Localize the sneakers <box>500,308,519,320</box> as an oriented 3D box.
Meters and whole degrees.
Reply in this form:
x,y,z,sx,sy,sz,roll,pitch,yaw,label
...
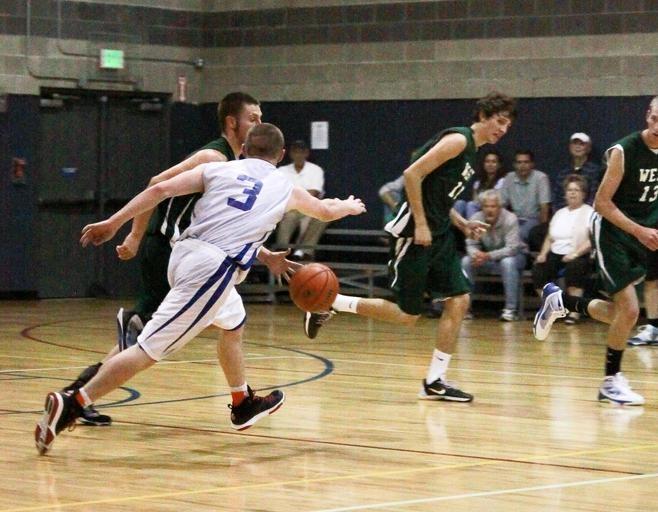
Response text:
x,y,z,sx,sy,sz,roll,pitch,yaw,label
1.876,0.610,9.401,0.102,0.105,0.235,0,-9,11,sneakers

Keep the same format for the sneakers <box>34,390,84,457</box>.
x,y,z,sx,sy,sz,roll,pitch,yaw,label
-1.264,0.756,4.262,0.171,0.386,0.131,6,25,-47,sneakers

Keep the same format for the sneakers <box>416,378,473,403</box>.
x,y,z,sx,sy,sz,roll,pitch,yaw,label
0.696,0.832,5.529,0.356,0.151,0.124,3,-1,12,sneakers

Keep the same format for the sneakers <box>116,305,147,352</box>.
x,y,z,sx,sy,sz,roll,pitch,yaw,label
-1.039,0.460,4.849,0.104,0.175,0.145,-13,-34,16,sneakers

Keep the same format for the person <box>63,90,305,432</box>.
x,y,z,sx,sy,sz,roll,pitch,yaw,label
-0.793,-0.073,5.036,1.061,1.755,0.461,-10,32,-41,person

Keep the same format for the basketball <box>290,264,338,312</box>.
x,y,z,sx,sy,sz,roll,pitch,yaw,label
-0.046,0.175,5.014,0.255,0.263,0.274,-1,-2,39,basketball

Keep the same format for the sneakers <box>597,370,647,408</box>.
x,y,z,sx,sy,sz,roll,pitch,yaw,label
1.723,0.816,5.377,0.266,0.158,0.127,6,-2,38,sneakers

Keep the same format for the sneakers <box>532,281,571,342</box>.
x,y,z,sx,sy,sz,roll,pitch,yaw,label
1.519,0.386,6.187,0.240,0.479,0.163,19,19,36,sneakers

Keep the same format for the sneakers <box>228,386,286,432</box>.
x,y,z,sx,sy,sz,roll,pitch,yaw,label
-0.369,0.758,4.676,0.352,0.171,0.120,-26,27,-33,sneakers
